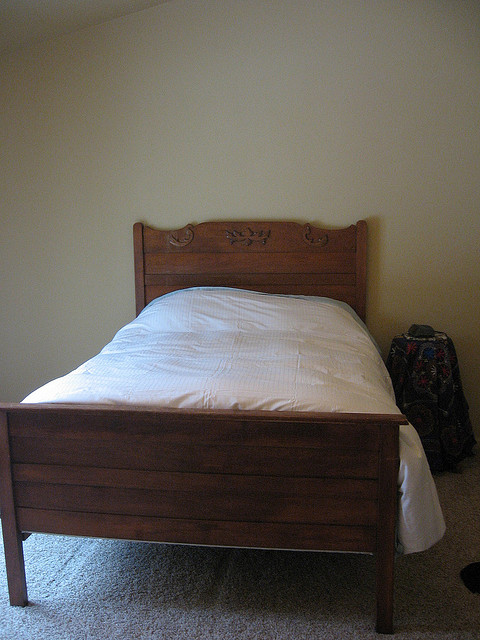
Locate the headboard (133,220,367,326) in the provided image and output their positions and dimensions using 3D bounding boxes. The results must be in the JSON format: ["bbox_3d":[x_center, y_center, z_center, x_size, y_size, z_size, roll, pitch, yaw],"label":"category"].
[{"bbox_3d":[0.049,-0.144,3.020,1.235,0.765,0.051,0,6,4],"label":"headboard"}]

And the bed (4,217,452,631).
[{"bbox_3d":[0.044,0.262,2.422,1.479,1.079,1.711,2,14,8],"label":"bed"}]
